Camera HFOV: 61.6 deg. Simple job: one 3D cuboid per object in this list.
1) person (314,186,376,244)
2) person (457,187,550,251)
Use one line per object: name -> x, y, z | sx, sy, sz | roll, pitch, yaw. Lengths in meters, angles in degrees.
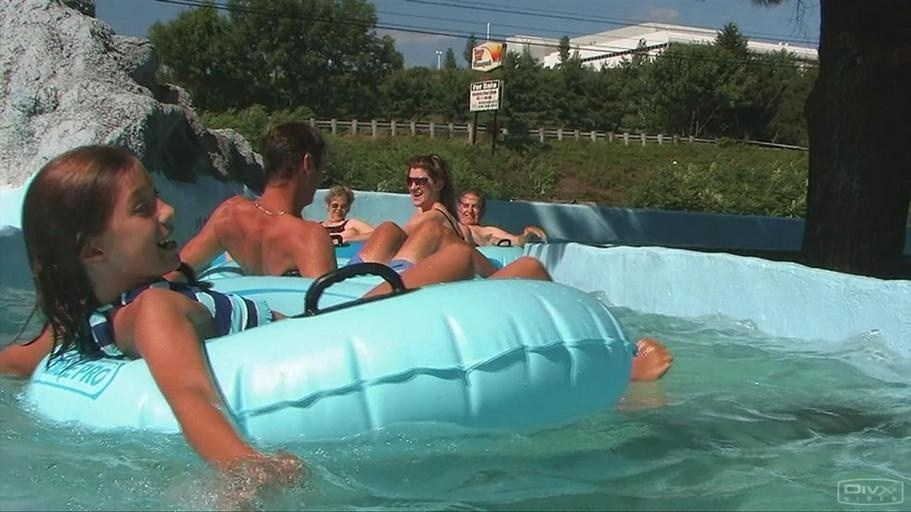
person -> -1.276, -0.496, 8.766 | 0.607, 0.405, 0.799 | -17, 12, -15
person -> 0.530, -0.396, 8.528 | 0.613, 0.557, 0.984 | 3, -5, -41
